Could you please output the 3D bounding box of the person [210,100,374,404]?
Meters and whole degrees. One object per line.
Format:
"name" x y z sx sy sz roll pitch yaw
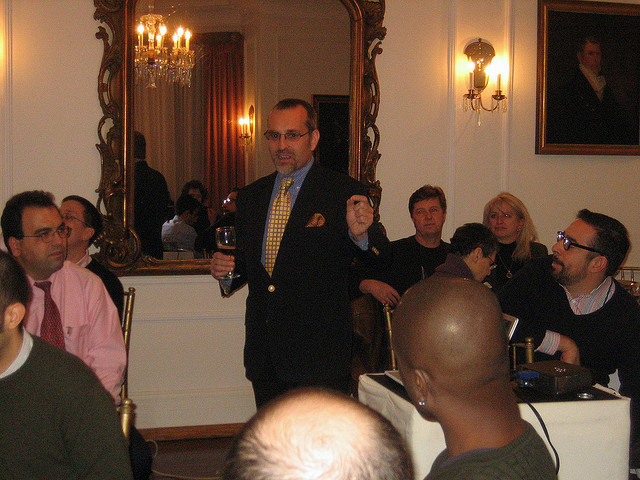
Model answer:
"person" -0.134 0.053 2.968 0.782 1.436 0.443 2 8 4

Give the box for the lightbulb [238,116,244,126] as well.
"lightbulb" -0.576 -0.866 4.476 0.031 0.047 0.033 -1 6 -11

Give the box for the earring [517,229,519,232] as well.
"earring" 1.386 -0.061 4.301 0.006 0.019 0.014 8 11 42

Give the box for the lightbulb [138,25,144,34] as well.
"lightbulb" -1.257 -1.476 4.299 0.042 0.070 0.042 -5 5 -36

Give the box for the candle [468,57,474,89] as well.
"candle" 1.151 -1.279 4.702 0.045 0.240 0.065 2 9 11

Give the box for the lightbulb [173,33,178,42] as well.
"lightbulb" -1.037 -1.449 4.389 0.037 0.067 0.039 -1 -2 -7

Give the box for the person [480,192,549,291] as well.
"person" 1.339 0.071 4.408 0.562 0.770 0.400 7 -2 28

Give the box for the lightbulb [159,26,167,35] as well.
"lightbulb" -1.117 -1.491 4.357 0.047 0.061 0.049 -3 0 25

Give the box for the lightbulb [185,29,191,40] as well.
"lightbulb" -0.949 -1.473 4.390 0.040 0.093 0.035 1 -1 -15

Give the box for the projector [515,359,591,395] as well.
"projector" 0.900 0.541 2.407 0.286 0.093 0.240 -1 1 -18

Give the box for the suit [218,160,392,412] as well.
"suit" -0.082 0.218 2.985 0.826 1.178 0.440 2 9 6
